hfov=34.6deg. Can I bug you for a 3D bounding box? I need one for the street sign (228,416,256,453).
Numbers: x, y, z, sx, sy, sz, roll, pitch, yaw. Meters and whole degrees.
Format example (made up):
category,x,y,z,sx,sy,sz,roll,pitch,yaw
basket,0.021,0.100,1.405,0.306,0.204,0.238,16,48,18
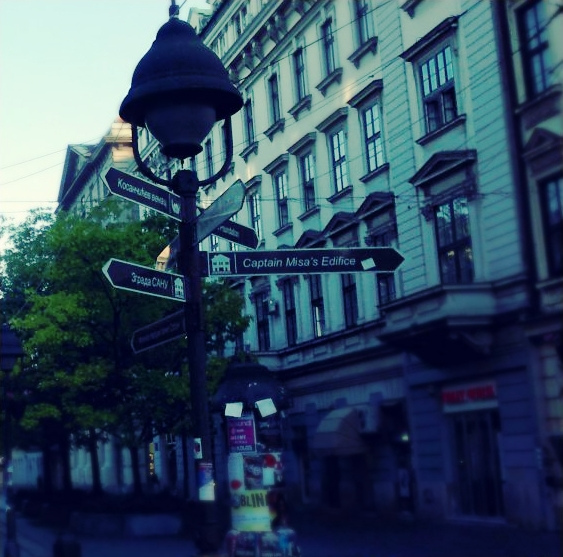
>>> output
category,x,y,z,sx,sy,sz,roll,pitch,yaw
street sign,-0.365,1.398,8.356,0.247,0.393,0.181,-3,22,3
